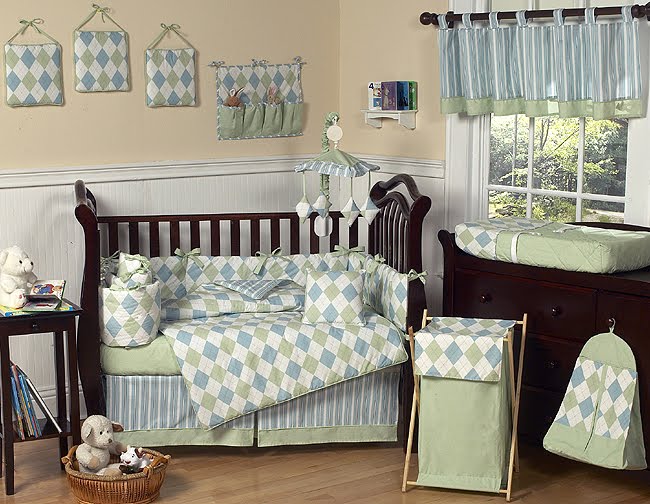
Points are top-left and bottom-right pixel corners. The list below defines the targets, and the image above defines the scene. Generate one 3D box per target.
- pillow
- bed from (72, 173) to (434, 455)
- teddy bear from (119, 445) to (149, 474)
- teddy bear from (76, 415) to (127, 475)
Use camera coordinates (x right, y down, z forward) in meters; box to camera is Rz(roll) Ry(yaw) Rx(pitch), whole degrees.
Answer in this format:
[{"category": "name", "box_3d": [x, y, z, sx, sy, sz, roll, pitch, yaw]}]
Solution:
[{"category": "pillow", "box_3d": [0.067, 0.247, 3.159, 0.252, 0.282, 0.086, 0, -11, 6]}, {"category": "bed", "box_3d": [-0.402, 0.039, 3.215, 1.728, 1.534, 1.119, -2, 32, -14]}, {"category": "teddy bear", "box_3d": [-0.803, 0.886, 2.620, 0.082, 0.109, 0.128, 4, -3, 18]}, {"category": "teddy bear", "box_3d": [-0.969, 0.852, 2.627, 0.174, 0.277, 0.228, 0, 0, 25]}]
